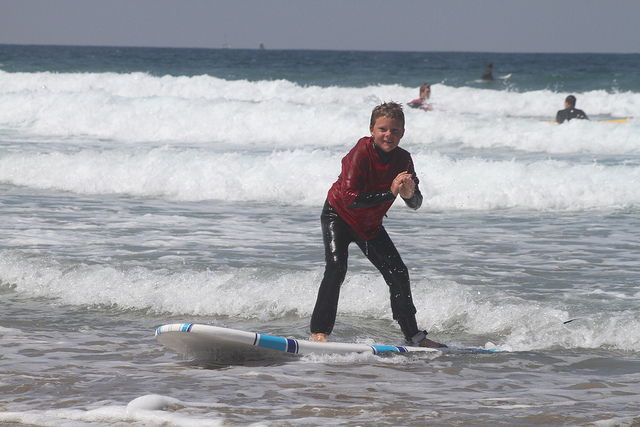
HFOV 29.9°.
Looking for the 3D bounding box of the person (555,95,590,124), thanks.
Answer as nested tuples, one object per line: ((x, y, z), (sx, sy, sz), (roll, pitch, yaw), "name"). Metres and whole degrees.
((6.163, -2.564, 29.657), (0.799, 0.694, 0.675), (3, 10, -1), "person")

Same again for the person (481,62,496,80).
((6.647, -5.557, 47.212), (0.498, 0.596, 1.605), (5, 9, 7), "person")
